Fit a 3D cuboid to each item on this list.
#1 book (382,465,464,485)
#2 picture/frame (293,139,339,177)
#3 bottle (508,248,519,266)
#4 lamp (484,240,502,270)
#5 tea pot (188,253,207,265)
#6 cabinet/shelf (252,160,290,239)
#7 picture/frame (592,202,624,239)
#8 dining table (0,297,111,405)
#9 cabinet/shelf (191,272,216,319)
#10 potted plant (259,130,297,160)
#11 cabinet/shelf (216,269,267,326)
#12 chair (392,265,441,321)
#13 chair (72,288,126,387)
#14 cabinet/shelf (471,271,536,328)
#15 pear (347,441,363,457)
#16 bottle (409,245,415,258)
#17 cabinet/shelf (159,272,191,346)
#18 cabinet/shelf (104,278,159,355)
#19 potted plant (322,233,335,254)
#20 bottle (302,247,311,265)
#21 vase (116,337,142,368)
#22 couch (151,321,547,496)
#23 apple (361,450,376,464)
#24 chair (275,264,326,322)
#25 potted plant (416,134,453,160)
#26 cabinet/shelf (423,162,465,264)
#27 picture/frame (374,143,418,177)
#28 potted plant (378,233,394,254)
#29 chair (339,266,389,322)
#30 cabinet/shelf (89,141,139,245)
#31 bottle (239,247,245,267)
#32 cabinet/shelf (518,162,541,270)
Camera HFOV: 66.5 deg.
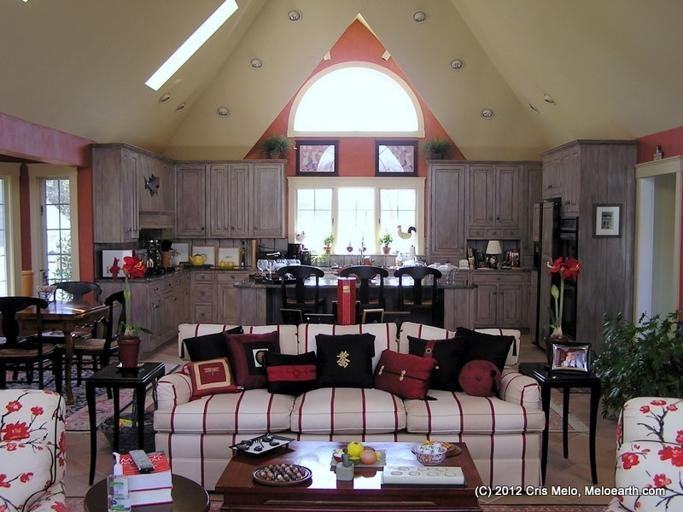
[{"bbox_3d":[0.480,1.317,3.150,0.317,0.045,0.179,0,1,5],"label":"book"},{"bbox_3d":[-0.457,-1.796,9.287,0.633,0.553,0.051,0,0,-3],"label":"picture/frame"},{"bbox_3d":[2.895,0.027,8.778,0.204,0.393,0.217,-1,1,0],"label":"bottle"},{"bbox_3d":[2.589,-0.054,8.878,0.263,0.475,0.730,-2,2,15],"label":"lamp"},{"bbox_3d":[-2.585,0.045,9.346,0.265,0.218,0.160,-2,2,10],"label":"tea pot"},{"bbox_3d":[-1.270,-0.994,9.149,0.636,1.439,0.414,0,-4,0],"label":"cabinet/shelf"},{"bbox_3d":[3.357,-0.477,6.584,0.422,0.573,0.040,0,2,5],"label":"picture/frame"},{"bbox_3d":[-2.932,0.929,5.639,1.133,0.915,0.928,0,-3,9],"label":"dining table"},{"bbox_3d":[-2.406,0.641,9.089,0.426,0.945,0.515,2,15,-8],"label":"cabinet/shelf"},{"bbox_3d":[-1.147,-1.921,9.060,0.550,0.414,0.529,0,0,-6],"label":"potted plant"},{"bbox_3d":[-1.736,0.776,8.667,0.454,0.766,0.805,11,5,-38],"label":"cabinet/shelf"},{"bbox_3d":[0.938,0.498,6.469,0.594,0.967,0.636,2,16,14],"label":"chair"},{"bbox_3d":[-2.855,0.959,5.979,0.667,1.062,0.682,4,-1,-25],"label":"chair"},{"bbox_3d":[2.600,0.664,8.752,1.063,1.044,0.408,0,13,8],"label":"cabinet/shelf"},{"bbox_3d":[0.080,1.229,3.325,0.082,0.084,0.084,1,-7,4],"label":"pear"},{"bbox_3d":[1.257,-0.098,9.270,0.122,0.213,0.100,-3,2,-16],"label":"bottle"},{"bbox_3d":[-2.471,0.748,7.597,0.353,0.783,1.039,-1,2,-3],"label":"cabinet/shelf"},{"bbox_3d":[-2.089,0.488,4.981,0.420,0.614,0.523,-2,4,-3],"label":"cabinet/shelf"},{"bbox_3d":[-0.231,-0.227,9.388,0.196,0.371,0.124,-3,2,-36],"label":"potted plant"},{"bbox_3d":[-0.625,0.008,9.131,0.203,0.333,0.207,0,3,0],"label":"bottle"},{"bbox_3d":[-1.694,0.765,4.226,0.215,0.266,0.220,0,-5,-6],"label":"vase"},{"bbox_3d":[0.057,1.202,4.378,2.974,1.215,1.100,0,-2,1],"label":"couch"},{"bbox_3d":[0.168,1.260,3.314,0.081,0.078,0.082,-3,-11,38],"label":"apple"},{"bbox_3d":[-0.497,0.388,6.243,0.587,0.983,0.645,1,8,3],"label":"chair"},{"bbox_3d":[1.630,-1.835,8.975,0.453,0.347,0.448,0,3,-2],"label":"potted plant"},{"bbox_3d":[1.829,-0.635,8.993,0.562,2.175,0.377,0,22,10],"label":"cabinet/shelf"},{"bbox_3d":[0.945,-1.765,9.278,0.558,0.495,0.055,0,5,1],"label":"picture/frame"},{"bbox_3d":[0.786,-0.229,9.309,0.243,0.380,0.166,-2,2,5],"label":"potted plant"},{"bbox_3d":[0.273,0.423,6.197,0.552,0.867,0.632,2,18,13],"label":"chair"},{"bbox_3d":[-3.451,-0.852,7.289,0.629,1.293,0.447,-11,-3,25],"label":"cabinet/shelf"},{"bbox_3d":[-1.772,0.001,9.275,0.111,0.344,0.087,-2,2,-4],"label":"bottle"},{"bbox_3d":[3.151,-0.676,9.051,0.420,2.032,0.541,-10,20,-9],"label":"cabinet/shelf"}]
